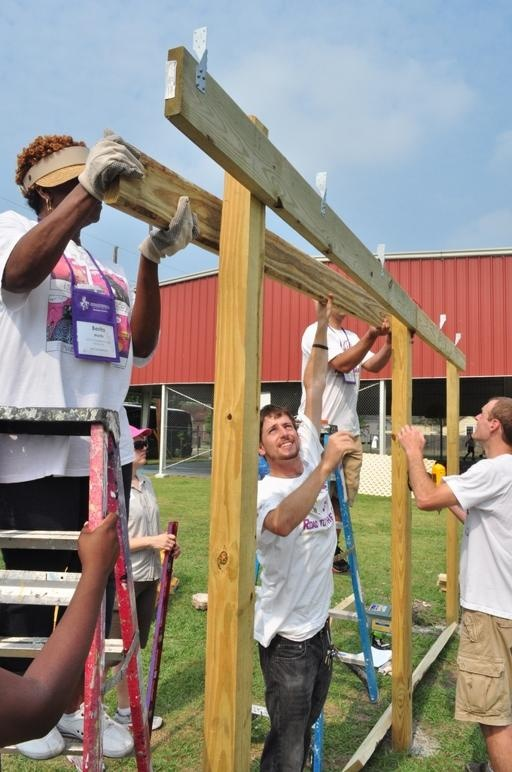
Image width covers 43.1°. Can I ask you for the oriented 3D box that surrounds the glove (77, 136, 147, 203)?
[{"bbox_3d":[-0.339,-0.501,1.528,0.130,0.152,0.064,45,-16,-4],"label":"glove"}]

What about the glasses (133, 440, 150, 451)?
[{"bbox_3d":[-0.629,0.317,3.492,0.017,0.058,0.056,-4,0,35],"label":"glasses"}]

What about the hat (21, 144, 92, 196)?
[{"bbox_3d":[-0.543,-0.597,1.802,0.166,0.067,0.131,-35,5,18],"label":"hat"}]
